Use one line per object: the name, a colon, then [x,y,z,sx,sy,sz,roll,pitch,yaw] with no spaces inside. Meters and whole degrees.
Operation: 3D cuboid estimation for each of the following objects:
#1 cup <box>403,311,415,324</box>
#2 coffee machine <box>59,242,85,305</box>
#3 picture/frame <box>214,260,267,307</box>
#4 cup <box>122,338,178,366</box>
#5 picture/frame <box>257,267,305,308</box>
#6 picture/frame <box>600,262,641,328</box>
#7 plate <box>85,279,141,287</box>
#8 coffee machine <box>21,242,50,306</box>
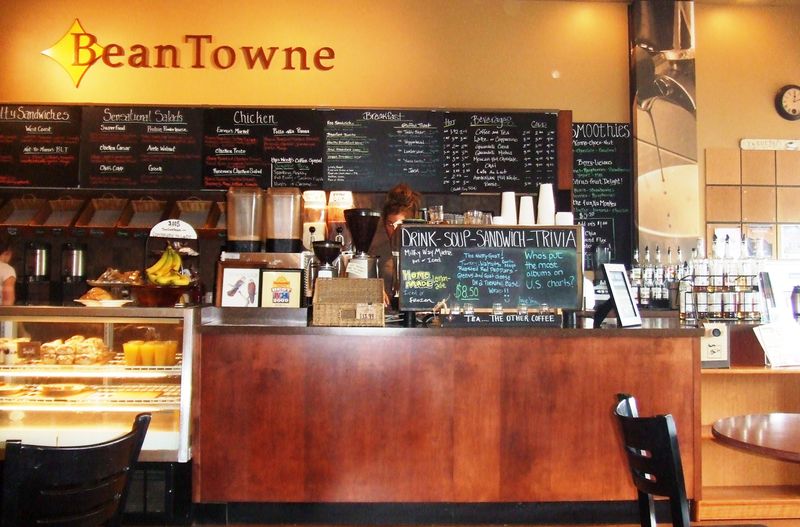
cup: [0.065,0.378,5.365,0.090,0.095,0.176,0,-1,0]
coffee machine: [-3.182,0.064,7.328,0.262,0.523,0.149,0,-2,-9]
picture/frame: [-1.165,0.147,5.471,0.339,0.311,0.034,1,-9,-4]
cup: [-1.762,0.600,5.291,0.310,0.134,0.189,1,-2,-8]
picture/frame: [-0.866,0.172,5.440,0.294,0.265,0.029,1,-15,-4]
picture/frame: [1.608,0.211,5.411,0.318,0.444,0.249,1,-2,-44]
plate: [-2.020,0.128,5.335,0.375,0.045,0.089,-1,-1,18]
coffee machine: [-3.538,0.064,7.321,0.281,0.537,0.154,0,-2,-6]
